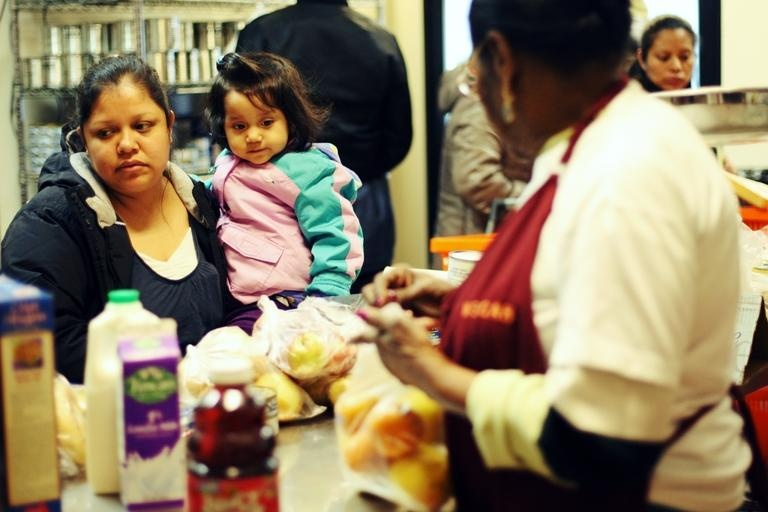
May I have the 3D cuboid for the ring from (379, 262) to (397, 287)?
[{"bbox_3d":[0.007,0.046,1.827,0.045,0.042,0.025,-1,34,-21],"label":"ring"}]

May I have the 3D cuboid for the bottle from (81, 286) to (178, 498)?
[{"bbox_3d":[-0.464,0.261,1.375,0.224,0.395,0.089,1,7,38],"label":"bottle"}]

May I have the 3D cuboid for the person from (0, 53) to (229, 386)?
[{"bbox_3d":[-0.758,-0.151,2.212,0.372,0.916,0.693,-1,6,29],"label":"person"}]
